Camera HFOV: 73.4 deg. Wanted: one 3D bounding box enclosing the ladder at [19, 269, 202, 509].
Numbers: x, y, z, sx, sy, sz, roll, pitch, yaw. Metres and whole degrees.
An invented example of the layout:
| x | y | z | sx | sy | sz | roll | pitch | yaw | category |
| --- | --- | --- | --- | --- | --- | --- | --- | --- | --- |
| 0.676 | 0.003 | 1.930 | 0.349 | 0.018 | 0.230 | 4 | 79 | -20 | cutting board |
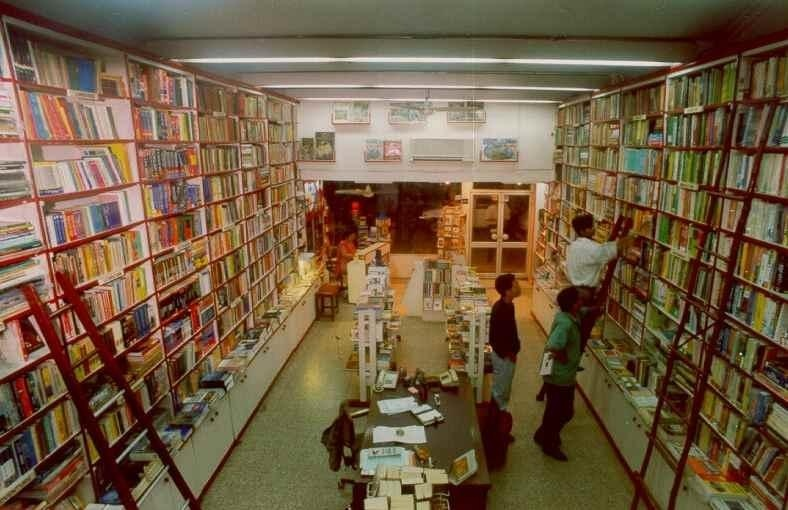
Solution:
| x | y | z | sx | sy | sz | roll | pitch | yaw | category |
| --- | --- | --- | --- | --- | --- | --- | --- | --- | --- |
| -2.841 | 1.585 | 5.435 | 1.241 | 2.893 | 0.960 | 7 | 17 | 26 | ladder |

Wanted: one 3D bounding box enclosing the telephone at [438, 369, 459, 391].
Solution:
| x | y | z | sx | sy | sz | roll | pitch | yaw | category |
| --- | --- | --- | --- | --- | --- | --- | --- | --- | --- |
| 0.778 | 1.783 | 7.419 | 0.232 | 0.077 | 0.234 | -12 | 32 | 0 | telephone |
